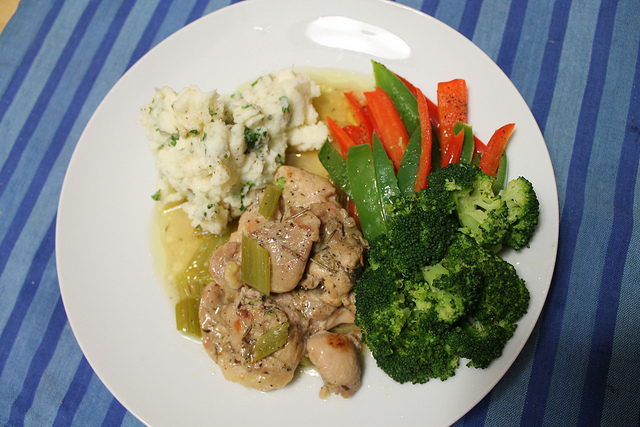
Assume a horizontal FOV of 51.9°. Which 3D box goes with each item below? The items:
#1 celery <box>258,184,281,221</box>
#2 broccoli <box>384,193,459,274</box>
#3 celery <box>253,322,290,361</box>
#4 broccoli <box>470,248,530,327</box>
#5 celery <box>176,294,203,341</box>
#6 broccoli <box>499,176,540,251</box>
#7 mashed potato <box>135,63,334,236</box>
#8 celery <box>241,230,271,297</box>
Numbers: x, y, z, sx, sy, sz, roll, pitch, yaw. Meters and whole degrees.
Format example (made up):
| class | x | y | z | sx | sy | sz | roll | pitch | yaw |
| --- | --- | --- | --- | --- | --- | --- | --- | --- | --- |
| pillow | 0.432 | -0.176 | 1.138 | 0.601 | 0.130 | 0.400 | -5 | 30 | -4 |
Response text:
| class | x | y | z | sx | sy | sz | roll | pitch | yaw |
| --- | --- | --- | --- | --- | --- | --- | --- | --- | --- |
| celery | -0.501 | -0.085 | 6.423 | 0.160 | 0.090 | 0.366 | 16 | 52 | -5 |
| broccoli | 0.868 | 0.253 | 6.011 | 0.676 | 0.336 | 0.643 | 23 | 81 | 4 |
| celery | -0.460 | 1.218 | 6.191 | 0.424 | 0.085 | 0.195 | -27 | 82 | -4 |
| broccoli | 1.638 | 0.672 | 5.974 | 0.544 | 0.312 | 0.720 | -7 | 81 | -1 |
| celery | -1.285 | 1.038 | 6.435 | 0.285 | 0.102 | 0.395 | 14 | 79 | -4 |
| broccoli | 1.809 | 0.019 | 6.086 | 0.300 | 0.671 | 0.353 | -6 | 30 | -5 |
| mashed potato | -0.945 | -0.509 | 6.853 | 1.556 | 1.859 | 1.446 | -23 | 36 | -25 |
| celery | -0.606 | 0.495 | 6.214 | 0.272 | 0.171 | 0.511 | 2 | 81 | 0 |
